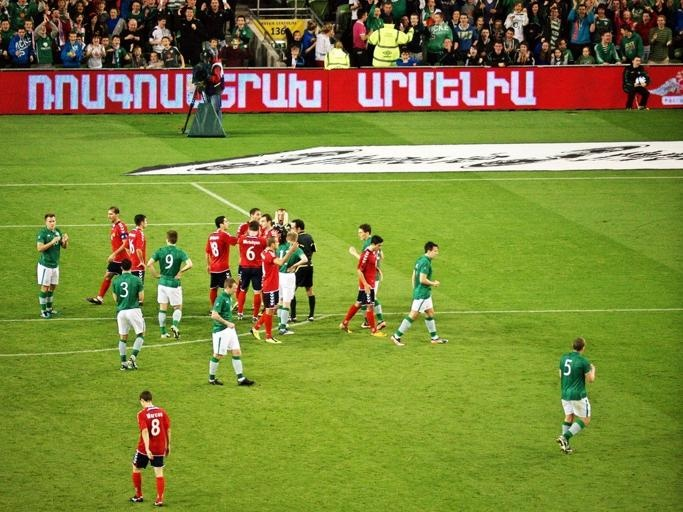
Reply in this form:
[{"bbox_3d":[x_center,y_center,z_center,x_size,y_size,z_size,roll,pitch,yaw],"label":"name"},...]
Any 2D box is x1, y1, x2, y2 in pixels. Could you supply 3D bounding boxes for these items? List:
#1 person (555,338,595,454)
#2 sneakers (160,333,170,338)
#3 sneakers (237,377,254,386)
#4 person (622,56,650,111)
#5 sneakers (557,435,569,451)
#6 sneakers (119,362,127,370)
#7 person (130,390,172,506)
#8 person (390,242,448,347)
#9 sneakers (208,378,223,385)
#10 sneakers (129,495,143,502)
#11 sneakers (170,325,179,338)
[{"bbox_3d":[4.616,2.816,22.622,0.688,2.288,0.354,-1,5,10],"label":"person"},{"bbox_3d":[-4.300,1.958,27.974,0.151,0.144,0.405,-1,5,7],"label":"sneakers"},{"bbox_3d":[-2.112,2.791,25.244,0.321,0.165,0.170,0,12,4],"label":"sneakers"},{"bbox_3d":[12.621,-7.281,48.944,1.083,1.919,1.322,-1,5,14],"label":"person"},{"bbox_3d":[4.395,3.760,22.663,0.145,0.176,0.373,9,20,7],"label":"sneakers"},{"bbox_3d":[-4.964,2.523,25.904,0.184,0.182,0.108,-9,21,-34],"label":"sneakers"},{"bbox_3d":[-3.531,3.595,21.102,0.713,2.176,0.562,-1,5,7],"label":"person"},{"bbox_3d":[1.892,0.925,27.252,1.157,2.524,1.548,-2,5,5],"label":"person"},{"bbox_3d":[-2.783,2.806,25.360,0.330,0.149,0.120,4,27,-17],"label":"sneakers"},{"bbox_3d":[-3.809,4.586,21.281,0.252,0.114,0.095,7,9,22],"label":"sneakers"},{"bbox_3d":[-4.059,1.892,27.876,0.140,0.163,0.384,-4,-35,8],"label":"sneakers"}]
